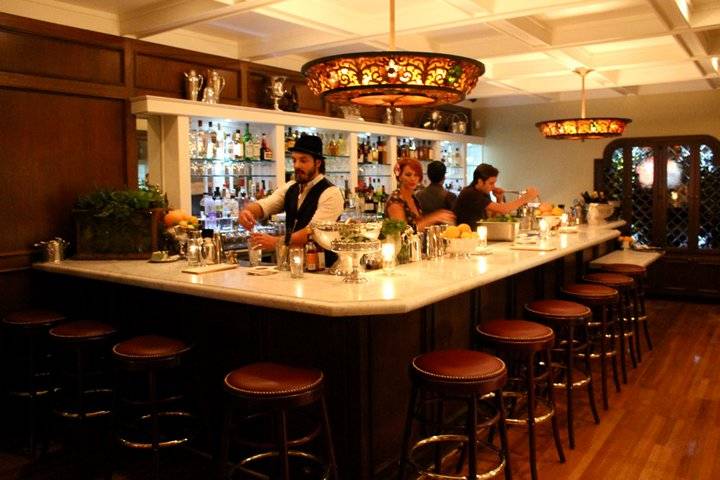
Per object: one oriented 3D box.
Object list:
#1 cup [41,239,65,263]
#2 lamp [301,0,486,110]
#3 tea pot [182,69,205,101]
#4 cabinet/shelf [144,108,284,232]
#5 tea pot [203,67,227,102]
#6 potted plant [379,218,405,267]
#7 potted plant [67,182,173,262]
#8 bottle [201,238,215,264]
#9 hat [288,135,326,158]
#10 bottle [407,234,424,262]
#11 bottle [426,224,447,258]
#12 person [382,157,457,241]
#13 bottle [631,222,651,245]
[{"bbox_3d":[-2.679,0.093,4.681,0.208,0.221,0.203,2,1,0],"label":"cup"},{"bbox_3d":[0.210,-1.101,3.825,0.971,0.922,0.991,1,1,42],"label":"lamp"},{"bbox_3d":[-1.827,-1.707,5.850,0.174,0.340,0.278,-1,10,4],"label":"tea pot"},{"bbox_3d":[-1.625,-0.775,5.749,0.470,1.305,1.506,4,6,41],"label":"cabinet/shelf"},{"bbox_3d":[-1.645,-1.734,5.981,0.166,0.388,0.451,-2,10,0],"label":"tea pot"},{"bbox_3d":[0.269,0.023,4.143,0.325,0.372,0.351,1,4,12],"label":"potted plant"},{"bbox_3d":[-2.136,-0.159,4.871,1.023,0.651,0.583,2,9,2],"label":"potted plant"},{"bbox_3d":[-1.228,0.091,4.315,0.096,0.207,0.102,-2,10,0],"label":"bottle"},{"bbox_3d":[-0.423,-0.827,4.770,0.202,0.097,0.268,11,5,15],"label":"hat"},{"bbox_3d":[0.462,0.064,4.475,0.084,0.227,0.180,4,11,32],"label":"bottle"},{"bbox_3d":[0.664,0.018,4.647,0.033,0.245,0.295,2,3,35],"label":"bottle"},{"bbox_3d":[0.525,-0.431,5.228,0.857,0.851,0.534,2,8,35],"label":"person"},{"bbox_3d":[4.578,-0.105,8.663,0.350,0.432,0.061,-8,1,-25],"label":"bottle"}]
